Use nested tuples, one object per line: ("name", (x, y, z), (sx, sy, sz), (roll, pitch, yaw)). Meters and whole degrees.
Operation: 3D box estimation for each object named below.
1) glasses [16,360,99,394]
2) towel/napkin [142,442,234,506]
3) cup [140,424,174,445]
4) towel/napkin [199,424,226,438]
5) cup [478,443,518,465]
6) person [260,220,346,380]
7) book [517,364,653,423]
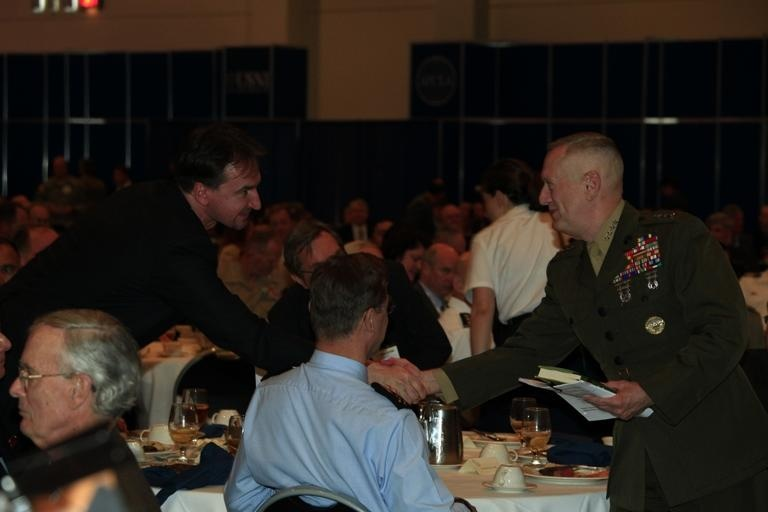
("glasses", (-0.996, 0.348, 2.399), (0.153, 0.051, 0.119), (3, -2, -1))
("towel/napkin", (-0.764, 0.850, 3.157), (0.364, 0.129, 0.265), (-4, 6, -25))
("cup", (-1.091, 0.841, 3.757), (0.158, 0.116, 0.125), (-1, -2, 15))
("towel/napkin", (-0.843, 0.861, 3.909), (0.111, 0.047, 0.115), (2, 4, -1))
("cup", (0.508, 0.862, 3.484), (0.126, 0.104, 0.097), (3, -4, 0))
("person", (-0.393, 0.329, 4.321), (0.429, 1.110, 0.400), (-12, 21, -8))
("book", (0.711, 0.537, 3.091), (0.366, 0.219, 0.204), (0, 4, 16))
